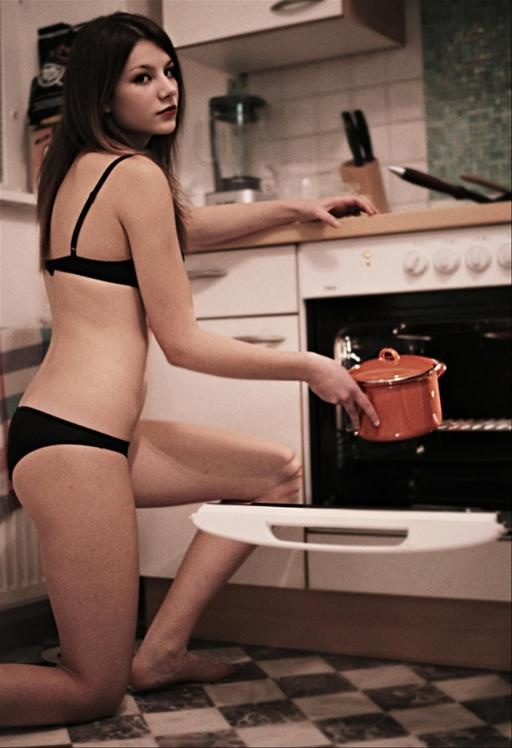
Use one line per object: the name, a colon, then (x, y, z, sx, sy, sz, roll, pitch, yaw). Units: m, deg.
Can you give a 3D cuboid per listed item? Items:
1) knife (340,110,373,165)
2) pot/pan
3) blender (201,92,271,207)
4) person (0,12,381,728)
knife: (0.290, -0.609, 1.959, 0.072, 0.177, 0.072, -17, 18, 16)
pot/pan: (0.208, 0.038, 1.194, 0.216, 0.133, 0.145, -8, -4, 0)
blender: (-0.054, -0.645, 2.214, 0.248, 0.313, 0.223, 0, 9, 15)
person: (-0.144, -0.002, 1.217, 0.548, 1.105, 0.449, 0, -6, -32)
